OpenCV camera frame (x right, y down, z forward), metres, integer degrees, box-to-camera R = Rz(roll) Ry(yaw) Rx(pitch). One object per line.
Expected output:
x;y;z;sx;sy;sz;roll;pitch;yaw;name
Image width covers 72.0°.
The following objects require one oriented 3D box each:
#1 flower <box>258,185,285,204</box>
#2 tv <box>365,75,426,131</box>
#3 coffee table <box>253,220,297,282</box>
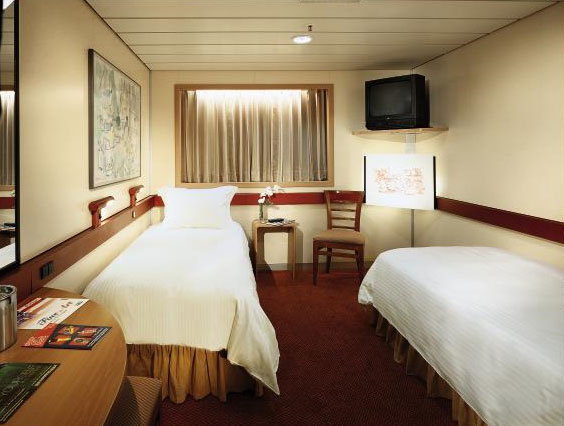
-0.130;-0.226;5.003;0.331;0.242;0.399;-1;14;-3;flower
1.345;-1.285;4.639;0.698;0.634;0.331;3;14;14;tv
-0.111;0.449;5.203;0.490;0.638;0.615;-3;12;-2;coffee table
